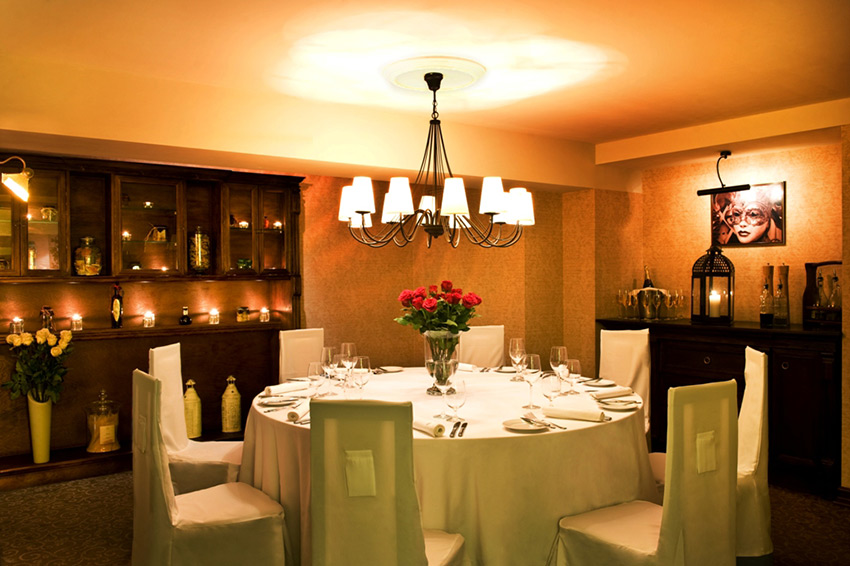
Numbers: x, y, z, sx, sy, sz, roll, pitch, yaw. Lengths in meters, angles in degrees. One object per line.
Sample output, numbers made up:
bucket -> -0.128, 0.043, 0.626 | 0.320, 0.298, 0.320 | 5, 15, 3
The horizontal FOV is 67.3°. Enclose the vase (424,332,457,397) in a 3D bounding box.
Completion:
vase -> 0.128, 0.570, 4.627 | 0.306, 0.440, 0.304 | 0, -4, -21

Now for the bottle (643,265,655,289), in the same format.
bottle -> 2.548, -0.076, 7.250 | 0.127, 0.236, 0.357 | -1, 1, 20

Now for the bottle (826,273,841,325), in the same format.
bottle -> 3.774, 0.133, 5.870 | 0.095, 0.468, 0.455 | -1, 1, 33

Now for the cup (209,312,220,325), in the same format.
cup -> -2.131, 0.358, 6.467 | 0.122, 0.135, 0.122 | 0, -7, 0

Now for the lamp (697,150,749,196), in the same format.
lamp -> 3.136, -1.152, 6.653 | 0.128, 0.362, 0.423 | 1, -2, -38

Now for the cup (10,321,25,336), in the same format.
cup -> -3.620, 0.405, 5.671 | 0.123, 0.132, 0.122 | 2, -8, 0

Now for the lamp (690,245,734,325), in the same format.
lamp -> 2.905, 0.019, 6.464 | 0.383, 0.749, 0.235 | -1, 1, 30

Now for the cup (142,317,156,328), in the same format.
cup -> -2.661, 0.378, 6.172 | 0.120, 0.125, 0.119 | 6, 11, -1

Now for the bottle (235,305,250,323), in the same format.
bottle -> -1.891, 0.320, 6.670 | 0.148, 0.206, 0.148 | 2, 8, 0

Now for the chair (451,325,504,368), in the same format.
chair -> 0.532, 0.576, 6.107 | 0.413, 0.570, 0.417 | 3, -2, 4

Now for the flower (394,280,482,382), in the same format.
flower -> 0.102, 0.399, 4.645 | 0.696, 0.682, 0.745 | -1, 0, -3

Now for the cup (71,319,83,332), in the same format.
cup -> -3.199, 0.382, 5.837 | 0.117, 0.127, 0.117 | 0, -5, 0

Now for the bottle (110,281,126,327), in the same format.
bottle -> -2.917, 0.205, 6.021 | 0.129, 0.356, 0.274 | -2, 1, -26

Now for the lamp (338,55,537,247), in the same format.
lamp -> 0.102, -1.004, 5.133 | 1.555, 1.227, 1.469 | -7, 10, -42
